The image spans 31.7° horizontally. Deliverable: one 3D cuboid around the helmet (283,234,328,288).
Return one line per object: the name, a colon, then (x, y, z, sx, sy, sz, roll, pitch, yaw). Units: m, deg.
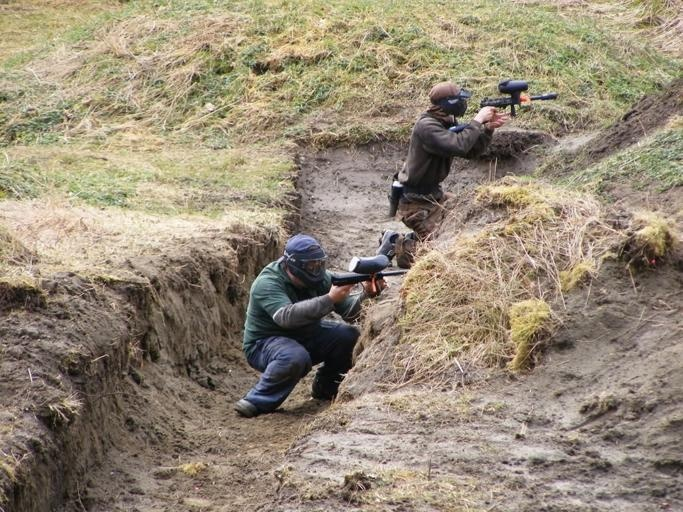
helmet: (-0.393, 0.069, 12.799, 0.453, 0.565, 0.317, 6, 39, 3)

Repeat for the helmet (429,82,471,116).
helmet: (1.224, -1.786, 13.705, 0.495, 0.247, 0.304, -20, 42, -9)

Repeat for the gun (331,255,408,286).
gun: (0.278, 0.125, 12.620, 0.748, 0.414, 0.496, 0, 36, -5)

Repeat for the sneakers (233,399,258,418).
sneakers: (-0.999, 1.601, 12.585, 0.141, 0.208, 0.271, -30, 48, -35)

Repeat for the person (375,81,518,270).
person: (1.085, -1.115, 13.800, 0.793, 1.587, 1.116, 28, 44, 26)
